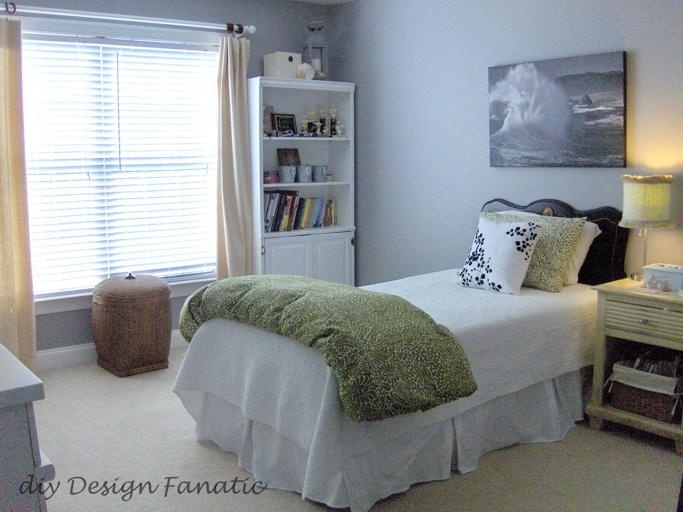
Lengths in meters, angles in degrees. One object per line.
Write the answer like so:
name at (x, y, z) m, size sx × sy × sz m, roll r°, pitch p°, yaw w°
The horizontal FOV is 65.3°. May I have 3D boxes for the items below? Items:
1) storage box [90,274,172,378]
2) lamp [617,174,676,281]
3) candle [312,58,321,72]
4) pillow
storage box at (-1.574, 0.486, 4.339) m, size 0.665 × 0.876 × 0.674 m, roll -3°, pitch 12°, yaw -23°
lamp at (1.891, -0.202, 3.323) m, size 0.290 × 0.616 × 0.355 m, roll 7°, pitch 15°, yaw 30°
candle at (-0.231, -1.790, 4.980) m, size 0.099 × 0.120 × 0.102 m, roll -1°, pitch 8°, yaw -10°
pillow at (1.251, -0.034, 3.570) m, size 0.891 × 0.454 × 0.463 m, roll -3°, pitch 13°, yaw -11°
